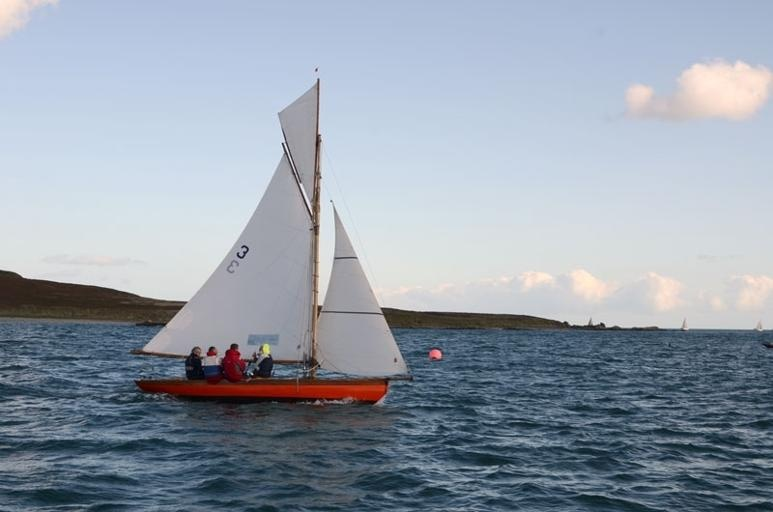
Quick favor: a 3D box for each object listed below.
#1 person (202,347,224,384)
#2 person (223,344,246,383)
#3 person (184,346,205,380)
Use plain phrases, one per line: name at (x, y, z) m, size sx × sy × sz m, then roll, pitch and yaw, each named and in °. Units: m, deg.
person at (-9.070, 5.691, 42.682) m, size 1.078 × 1.835 × 0.529 m, roll 1°, pitch -3°, yaw -3°
person at (-7.943, 5.578, 42.510) m, size 1.129 × 1.999 × 0.678 m, roll 1°, pitch -3°, yaw -10°
person at (-10.063, 5.673, 43.078) m, size 0.903 × 1.692 × 0.757 m, roll 1°, pitch -3°, yaw -12°
